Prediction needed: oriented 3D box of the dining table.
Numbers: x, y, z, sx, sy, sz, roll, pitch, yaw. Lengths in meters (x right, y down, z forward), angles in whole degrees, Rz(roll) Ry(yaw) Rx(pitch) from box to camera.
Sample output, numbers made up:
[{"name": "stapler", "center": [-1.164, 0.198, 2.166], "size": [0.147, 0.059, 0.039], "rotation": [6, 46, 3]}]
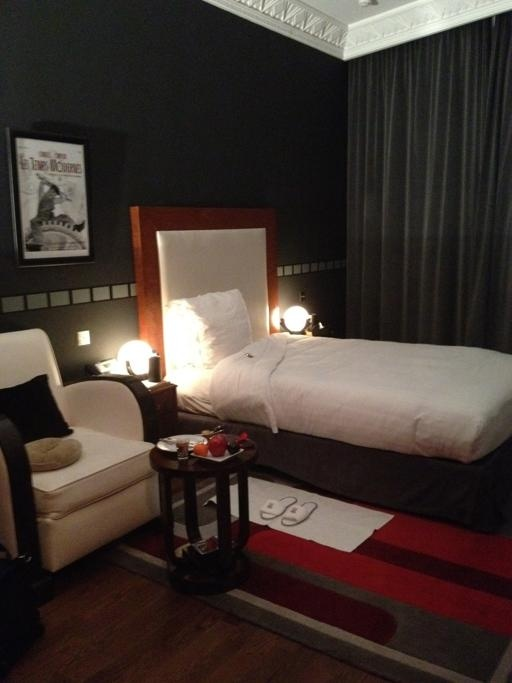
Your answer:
[{"name": "dining table", "center": [-0.213, 0.697, 2.127], "size": [0.356, 0.402, 0.362], "rotation": [-1, -3, -36]}]

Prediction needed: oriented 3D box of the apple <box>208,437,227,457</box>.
[{"name": "apple", "center": [-0.149, 0.402, 2.008], "size": [0.069, 0.075, 0.070], "rotation": [-1, 9, -5]}]

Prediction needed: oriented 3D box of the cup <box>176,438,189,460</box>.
[{"name": "cup", "center": [-0.286, 0.423, 2.034], "size": [0.047, 0.059, 0.061], "rotation": [0, 0, 2]}]

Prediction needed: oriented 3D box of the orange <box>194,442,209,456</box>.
[{"name": "orange", "center": [-0.209, 0.410, 1.986], "size": [0.044, 0.045, 0.043], "rotation": [4, 8, 9]}]
